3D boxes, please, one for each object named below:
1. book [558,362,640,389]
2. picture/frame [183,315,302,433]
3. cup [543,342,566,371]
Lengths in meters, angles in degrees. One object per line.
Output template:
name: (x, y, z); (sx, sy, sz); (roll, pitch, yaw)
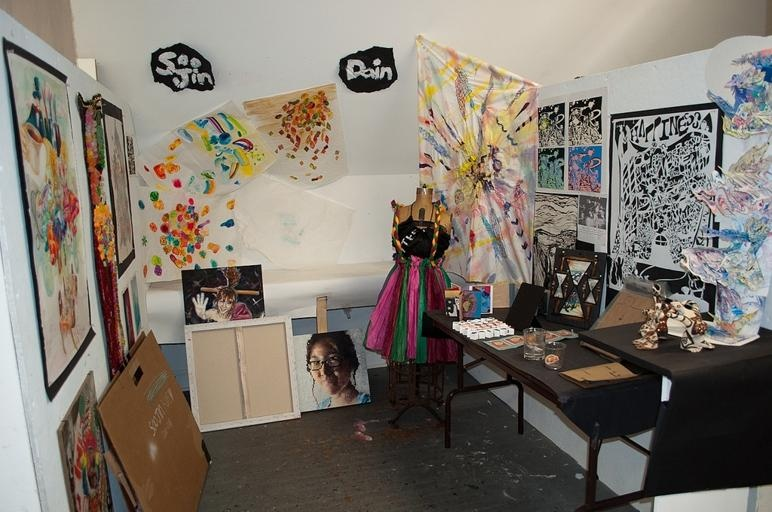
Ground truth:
book: (1.012, 0.560, 2.464); (0.182, 0.026, 0.143); (-7, 12, -9)
picture/frame: (-1.088, 0.895, 3.923); (0.738, 0.742, 0.077); (-7, -1, -8)
cup: (0.840, 0.500, 2.619); (0.117, 0.130, 0.120); (1, 5, 0)
